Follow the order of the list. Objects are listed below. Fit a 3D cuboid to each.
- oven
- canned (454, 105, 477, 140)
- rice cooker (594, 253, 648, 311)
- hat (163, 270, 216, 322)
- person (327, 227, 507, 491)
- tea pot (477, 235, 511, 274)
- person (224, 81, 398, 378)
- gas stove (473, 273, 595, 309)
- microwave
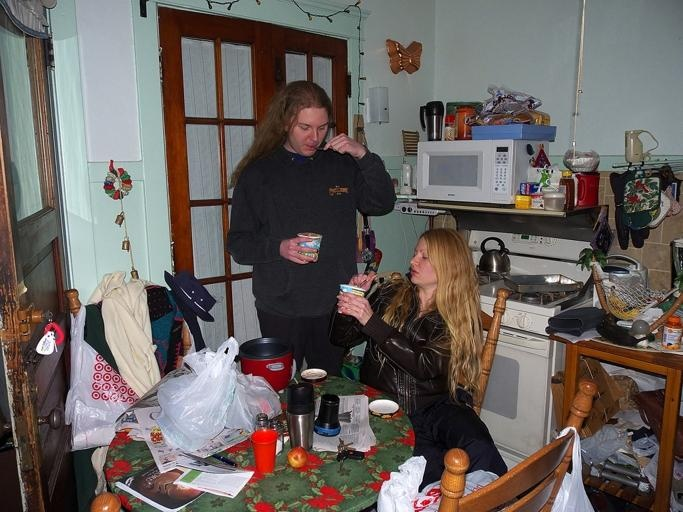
[{"bbox_3d":[1.032,0.779,2.979,0.515,1.010,0.526,-4,14,-28],"label":"oven"},{"bbox_3d":[0.800,-0.865,3.155,0.112,0.215,0.151,2,12,8],"label":"canned"},{"bbox_3d":[1.560,0.192,2.701,0.279,0.379,0.209,3,14,6],"label":"rice cooker"},{"bbox_3d":[-0.722,0.195,2.338,0.219,0.238,0.133,-2,12,-8],"label":"hat"},{"bbox_3d":[0.346,0.399,2.020,0.523,1.284,0.533,-5,9,-27],"label":"person"},{"bbox_3d":[1.042,0.002,3.306,0.236,0.279,0.179,3,8,25],"label":"tea pot"},{"bbox_3d":[-0.236,-0.082,2.654,0.686,1.583,0.676,0,14,-18],"label":"person"},{"bbox_3d":[1.157,0.217,2.871,0.489,0.124,0.457,-7,11,-38],"label":"gas stove"},{"bbox_3d":[0.843,-0.545,3.181,0.723,0.407,0.221,8,14,34],"label":"microwave"}]
